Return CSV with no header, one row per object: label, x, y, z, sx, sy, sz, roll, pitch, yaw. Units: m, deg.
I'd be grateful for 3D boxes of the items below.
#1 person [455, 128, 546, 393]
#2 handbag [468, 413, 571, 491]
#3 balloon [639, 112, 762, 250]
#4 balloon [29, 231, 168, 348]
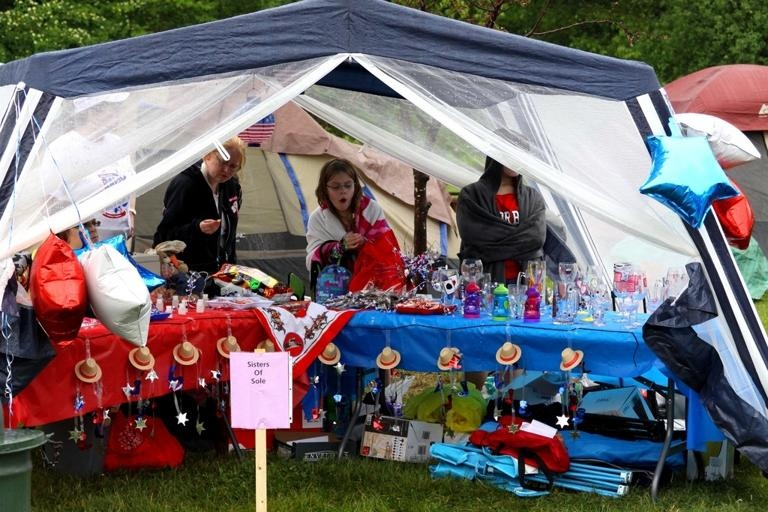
person,0.848,-0.247,5.947,0.409,1.241,0.396,1,0,0
handbag,0.906,1.237,5.412,0.512,0.408,0.185,11,4,20
balloon,1.964,-0.513,5.188,0.863,0.831,0.387,3,-7,-33
balloon,-1.626,0.184,4.600,0.634,0.605,0.263,1,-6,-15
